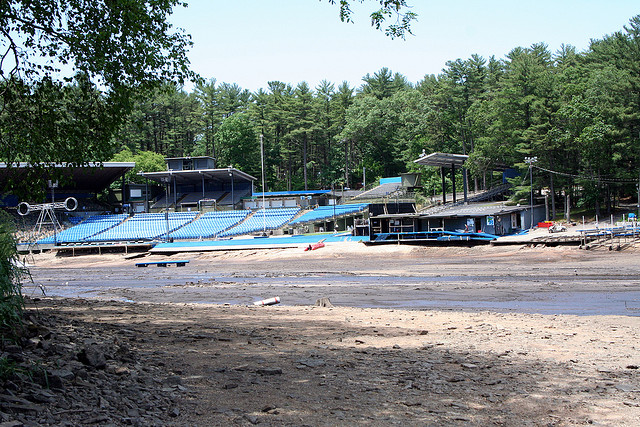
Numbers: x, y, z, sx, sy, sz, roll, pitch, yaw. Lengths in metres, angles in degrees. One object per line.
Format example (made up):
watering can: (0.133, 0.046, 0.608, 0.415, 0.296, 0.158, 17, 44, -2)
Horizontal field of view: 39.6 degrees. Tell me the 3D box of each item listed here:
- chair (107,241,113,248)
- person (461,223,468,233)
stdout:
chair: (-24.770, 3.527, 104.443, 0.600, 0.289, 4.171, -6, 8, -13)
person: (15.039, 1.636, 92.777, 0.528, 0.892, 0.609, -5, -16, 15)
